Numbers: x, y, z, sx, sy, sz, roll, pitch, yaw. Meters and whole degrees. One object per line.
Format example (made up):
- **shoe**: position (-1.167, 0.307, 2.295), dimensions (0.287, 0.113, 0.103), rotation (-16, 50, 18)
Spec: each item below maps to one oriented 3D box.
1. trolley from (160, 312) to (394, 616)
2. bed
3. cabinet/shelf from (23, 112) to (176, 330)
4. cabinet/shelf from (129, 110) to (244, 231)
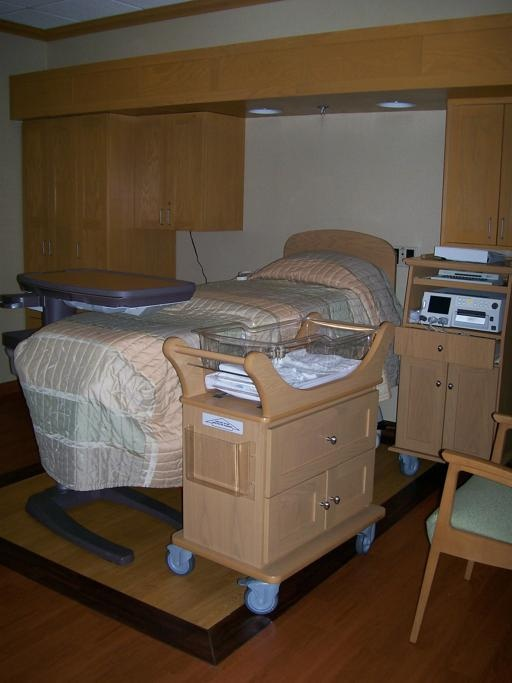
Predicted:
- **trolley**: position (0.063, 0.304, 1.710), dimensions (0.444, 0.762, 0.748), rotation (6, 5, 42)
- **bed**: position (-0.089, 0.067, 2.564), dimensions (1.187, 0.838, 1.841), rotation (11, 18, 38)
- **cabinet/shelf**: position (-1.539, -1.232, 4.496), dimensions (0.780, 1.360, 0.435), rotation (8, 18, 9)
- **cabinet/shelf**: position (-0.530, -1.335, 4.180), dimensions (0.881, 0.860, 0.495), rotation (14, 19, 39)
